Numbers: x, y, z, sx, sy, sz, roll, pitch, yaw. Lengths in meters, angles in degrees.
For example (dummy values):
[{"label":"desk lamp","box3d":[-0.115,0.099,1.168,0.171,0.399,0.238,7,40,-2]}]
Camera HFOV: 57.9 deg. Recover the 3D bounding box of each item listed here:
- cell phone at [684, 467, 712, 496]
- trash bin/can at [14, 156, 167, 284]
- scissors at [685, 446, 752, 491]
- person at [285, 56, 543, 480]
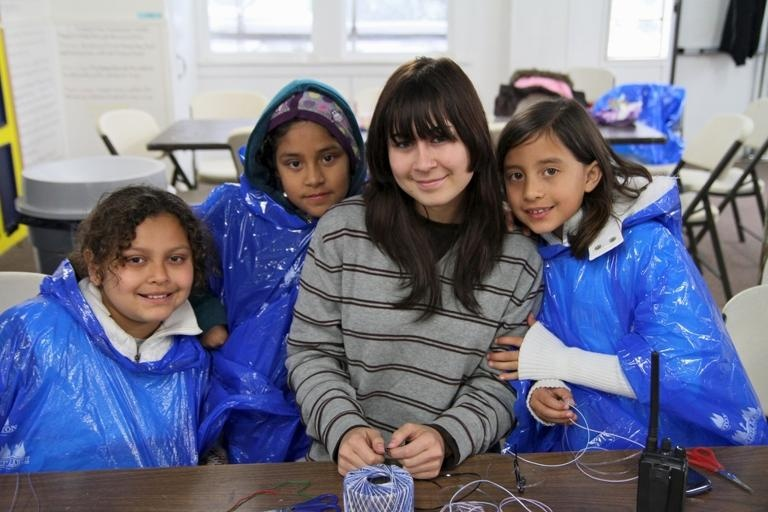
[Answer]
[{"label":"cell phone","box3d":[0.771,0.557,1.701,0.056,0.039,0.078,5,18,25]},{"label":"trash bin/can","box3d":[-1.264,-0.224,3.072,0.627,0.452,0.616,-1,16,-4]},{"label":"scissors","box3d":[0.826,0.526,1.721,0.065,0.012,0.143,-10,19,-15]},{"label":"person","box3d":[0.101,0.017,1.922,0.792,1.081,0.544,-6,17,-10]}]
